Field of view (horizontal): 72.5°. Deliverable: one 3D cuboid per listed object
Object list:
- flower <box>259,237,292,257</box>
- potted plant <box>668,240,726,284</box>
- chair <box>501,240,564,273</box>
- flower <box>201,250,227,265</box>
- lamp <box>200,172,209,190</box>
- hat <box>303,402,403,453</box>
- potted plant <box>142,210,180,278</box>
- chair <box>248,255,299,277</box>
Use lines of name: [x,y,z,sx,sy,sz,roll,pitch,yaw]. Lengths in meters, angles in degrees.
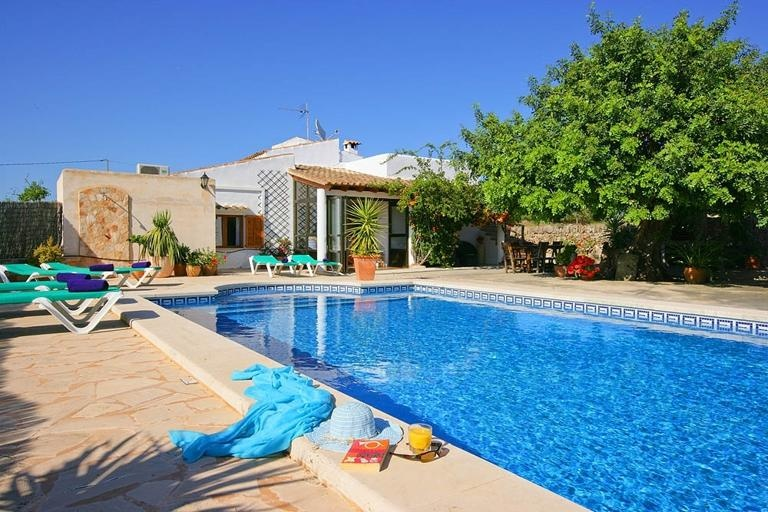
flower: [-4.134,-0.286,20.227,0.926,0.488,0.785,0,-2,-11]
potted plant: [9.251,0.197,15.680,1.261,0.886,1.147,4,7,6]
chair: [5.563,0.061,19.560,1.803,1.146,2.258,-1,1,30]
flower: [-5.752,0.080,17.298,0.600,0.322,0.613,0,1,27]
lamp: [-6.132,-2.543,17.904,0.283,0.409,0.363,-2,1,-19]
hat: [-0.345,1.903,5.822,0.665,0.160,0.632,2,2,6]
potted plant: [-6.815,-0.313,16.133,1.004,1.501,0.731,-3,2,-30]
chair: [-3.918,0.341,17.531,0.813,0.574,1.717,1,-2,-38]
